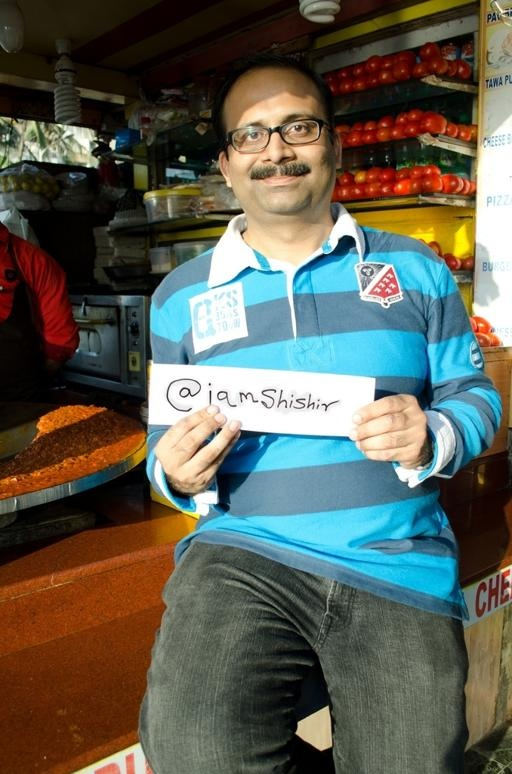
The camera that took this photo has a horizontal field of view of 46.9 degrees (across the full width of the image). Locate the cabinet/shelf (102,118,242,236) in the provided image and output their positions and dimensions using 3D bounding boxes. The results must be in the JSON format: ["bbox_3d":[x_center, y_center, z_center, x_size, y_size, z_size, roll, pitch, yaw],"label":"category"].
[{"bbox_3d":[-0.888,-1.787,5.008,0.603,0.669,1.073,19,28,40],"label":"cabinet/shelf"}]

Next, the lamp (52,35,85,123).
[{"bbox_3d":[-1.492,-2.378,4.641,0.171,0.689,0.603,-1,4,-19],"label":"lamp"}]
